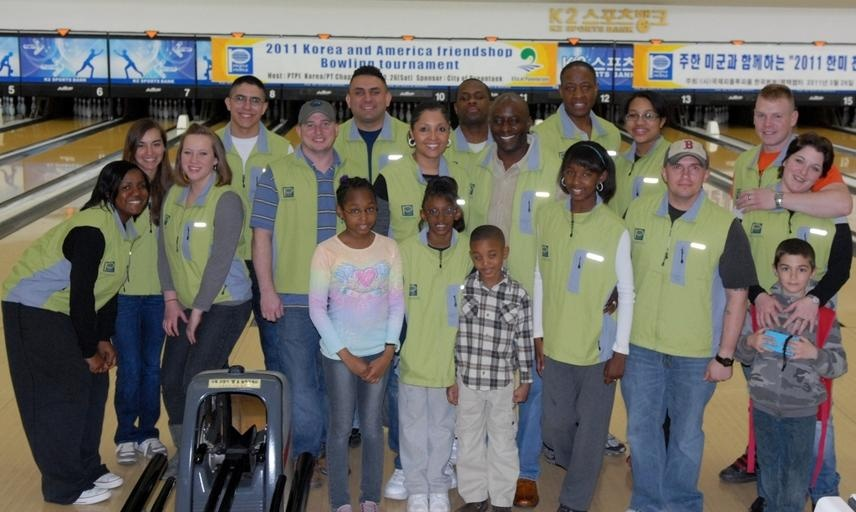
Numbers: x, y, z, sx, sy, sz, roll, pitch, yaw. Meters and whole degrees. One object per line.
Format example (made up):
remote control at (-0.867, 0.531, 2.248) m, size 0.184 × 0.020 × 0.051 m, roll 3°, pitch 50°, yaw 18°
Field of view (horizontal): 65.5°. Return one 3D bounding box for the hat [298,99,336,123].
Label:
hat at (-0.687, -0.867, 4.078) m, size 0.215 × 0.149 × 0.340 m, roll -3°, pitch 4°, yaw -16°

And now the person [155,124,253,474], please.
person at (-1.454, 0.193, 4.106) m, size 0.596 × 1.968 × 0.360 m, roll 2°, pitch 9°, yaw 18°

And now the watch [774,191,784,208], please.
watch at (2.107, -0.336, 3.954) m, size 0.051 × 0.078 × 0.079 m, roll 2°, pitch 2°, yaw 14°

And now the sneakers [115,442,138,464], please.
sneakers at (-1.965, 1.268, 4.297) m, size 0.076 × 0.080 × 0.190 m, roll 1°, pitch 9°, yaw -10°

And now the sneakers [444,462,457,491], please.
sneakers at (0.148, 1.347, 4.109) m, size 0.065 × 0.192 × 0.083 m, roll -5°, pitch 42°, yaw 8°

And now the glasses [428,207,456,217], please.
glasses at (0.078, -0.258, 3.875) m, size 0.148 × 0.045 × 0.022 m, roll -1°, pitch 8°, yaw -4°

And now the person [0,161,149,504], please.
person at (-2.102, 0.453, 3.986) m, size 0.807 × 2.013 × 0.372 m, roll -4°, pitch 9°, yaw -24°

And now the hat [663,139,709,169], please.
hat at (1.510, -0.593, 3.838) m, size 0.273 × 0.158 × 0.201 m, roll -1°, pitch 9°, yaw -3°

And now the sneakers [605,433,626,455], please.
sneakers at (1.257, 1.266, 4.514) m, size 0.118 × 0.095 × 0.226 m, roll 4°, pitch -9°, yaw -31°

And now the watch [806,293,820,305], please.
watch at (2.215, 0.243, 3.782) m, size 0.049 × 0.029 × 0.058 m, roll -12°, pitch 51°, yaw -10°

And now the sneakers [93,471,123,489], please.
sneakers at (-1.969, 1.365, 4.082) m, size 0.146 × 0.057 × 0.077 m, roll -2°, pitch 2°, yaw 25°

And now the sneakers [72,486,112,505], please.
sneakers at (-2.027, 1.427, 3.990) m, size 0.197 × 0.078 × 0.084 m, roll -2°, pitch 2°, yaw -1°

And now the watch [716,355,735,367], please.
watch at (1.713, 0.583, 3.802) m, size 0.090 × 0.055 × 0.084 m, roll 21°, pitch 9°, yaw 22°
